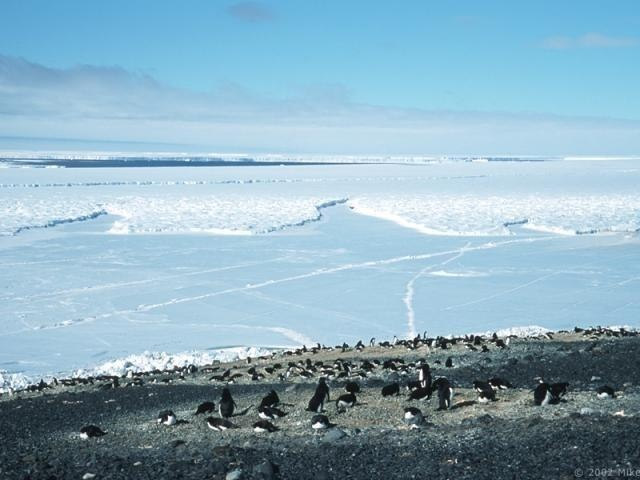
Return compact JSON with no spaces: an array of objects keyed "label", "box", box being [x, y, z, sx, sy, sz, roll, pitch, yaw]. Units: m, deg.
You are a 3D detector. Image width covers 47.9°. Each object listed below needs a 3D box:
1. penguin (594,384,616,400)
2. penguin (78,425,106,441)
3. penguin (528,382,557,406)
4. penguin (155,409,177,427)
[{"label":"penguin","box":[4.672,2.478,11.690,0.292,0.161,0.374,-4,6,19]},{"label":"penguin","box":[-3.816,3.196,11.965,0.430,0.169,0.291,-6,7,-9]},{"label":"penguin","box":[3.591,2.482,11.560,0.308,0.362,0.129,14,-35,11]},{"label":"penguin","box":[-2.705,3.010,12.182,0.399,0.194,0.247,19,15,42]}]
